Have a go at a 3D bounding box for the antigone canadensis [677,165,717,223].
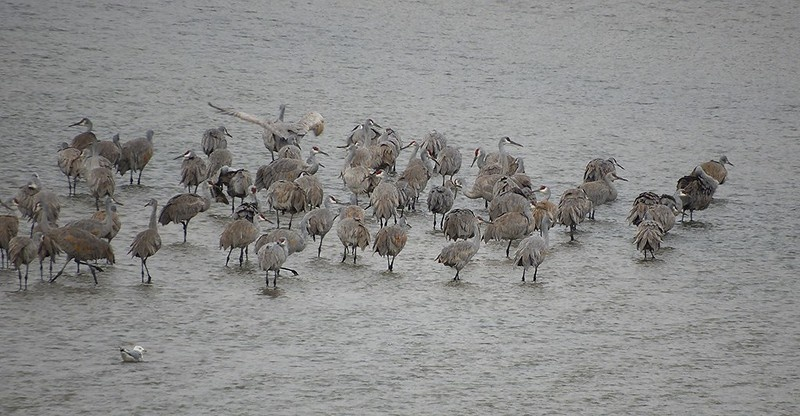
[{"bbox_3d":[10.511,-0.424,35.643,1.234,1.674,1.285,16,25,14],"label":"antigone canadensis"}]
